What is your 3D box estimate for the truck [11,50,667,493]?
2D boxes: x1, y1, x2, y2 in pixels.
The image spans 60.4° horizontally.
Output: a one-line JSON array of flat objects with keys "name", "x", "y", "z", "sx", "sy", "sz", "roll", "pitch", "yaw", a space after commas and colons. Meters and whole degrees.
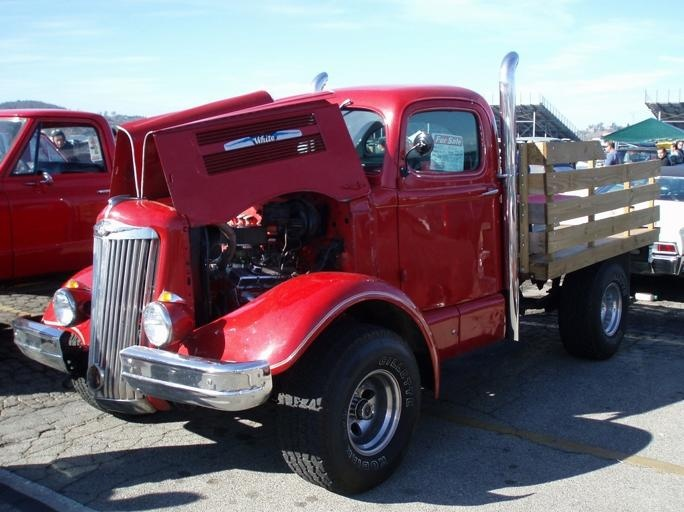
[{"name": "truck", "x": 0.562, "y": -0.042, "z": 5.917, "sx": 2.908, "sy": 2.341, "sz": 6.015, "roll": 0, "pitch": 3, "yaw": 44}]
